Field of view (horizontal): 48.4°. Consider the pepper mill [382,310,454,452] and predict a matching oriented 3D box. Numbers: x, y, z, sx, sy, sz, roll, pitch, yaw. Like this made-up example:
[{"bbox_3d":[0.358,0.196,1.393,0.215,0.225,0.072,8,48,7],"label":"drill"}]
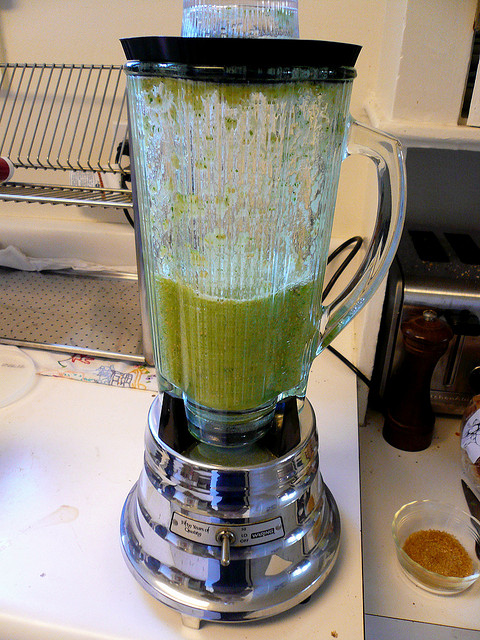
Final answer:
[{"bbox_3d":[0.191,0.064,0.577,0.064,0.164,0.068,-6,27,-14],"label":"pepper mill"}]
